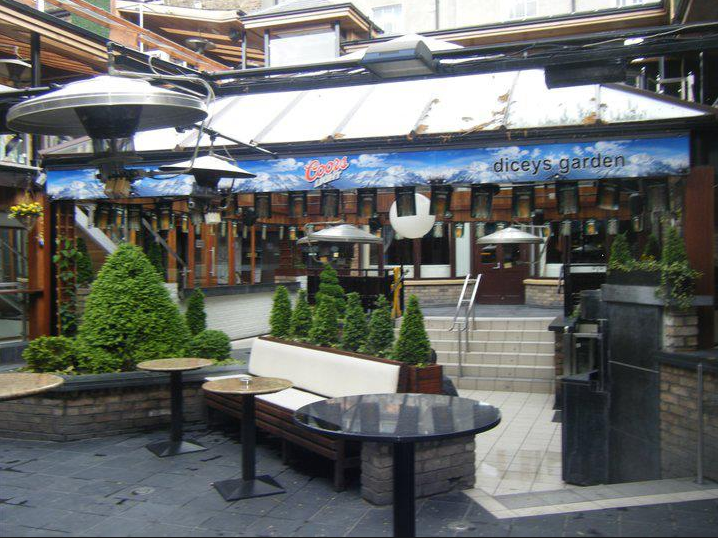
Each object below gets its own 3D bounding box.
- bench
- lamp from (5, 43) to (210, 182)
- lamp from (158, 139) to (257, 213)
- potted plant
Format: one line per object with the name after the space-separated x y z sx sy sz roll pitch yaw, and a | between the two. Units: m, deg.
-0.823 1.624 9.061 1.164 0.976 3.432 -16 10 -35 | bench
-2.423 -1.421 6.778 1.664 0.687 1.310 -1 1 4 | lamp
-1.968 -1.192 9.355 1.450 0.750 1.136 0 0 -2 | lamp
-0.494 0.726 10.311 1.081 1.044 3.607 22 -13 -30 | potted plant
